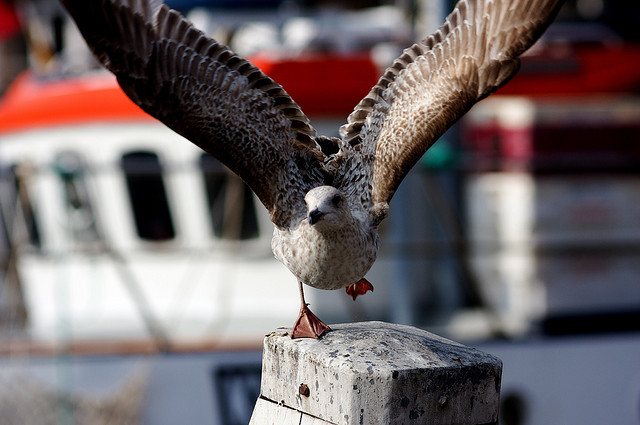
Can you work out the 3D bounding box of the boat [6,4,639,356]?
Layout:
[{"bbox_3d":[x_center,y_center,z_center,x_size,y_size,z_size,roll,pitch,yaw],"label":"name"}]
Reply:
[{"bbox_3d":[-0.021,-0.352,19.089,7.094,3.001,3.730,1,-4,-11],"label":"boat"}]
